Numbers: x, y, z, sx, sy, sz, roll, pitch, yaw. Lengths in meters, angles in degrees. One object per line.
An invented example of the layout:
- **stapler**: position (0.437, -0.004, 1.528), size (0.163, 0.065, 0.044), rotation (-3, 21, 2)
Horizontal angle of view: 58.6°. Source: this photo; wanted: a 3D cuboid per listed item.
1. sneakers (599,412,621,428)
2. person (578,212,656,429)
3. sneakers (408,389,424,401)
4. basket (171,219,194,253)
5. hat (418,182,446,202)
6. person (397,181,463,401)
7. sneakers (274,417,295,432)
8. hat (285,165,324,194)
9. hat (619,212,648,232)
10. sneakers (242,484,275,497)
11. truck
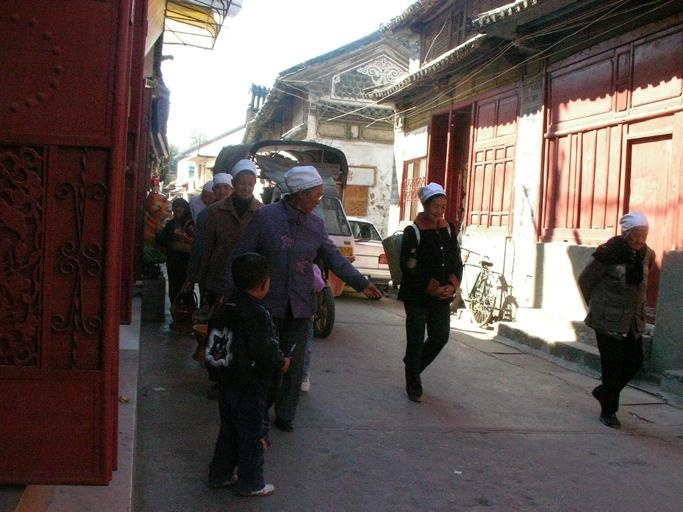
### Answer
- **sneakers**: position (2.623, 1.619, 5.974), size (0.088, 0.078, 0.199), rotation (0, -2, -14)
- **person**: position (2.670, 0.605, 6.037), size (0.683, 1.563, 0.417), rotation (5, 4, 14)
- **sneakers**: position (0.733, 1.418, 6.201), size (0.153, 0.107, 0.110), rotation (5, 4, 13)
- **basket**: position (-2.251, -0.278, 8.663), size (0.385, 0.514, 0.530), rotation (4, -14, -16)
- **hat**: position (0.910, -0.670, 6.197), size (0.200, 0.204, 0.247), rotation (-1, 22, 4)
- **person**: position (0.907, 0.370, 6.284), size (0.522, 2.207, 0.582), rotation (7, 5, 37)
- **sneakers**: position (-0.480, 1.414, 5.124), size (0.184, 0.124, 0.080), rotation (4, 5, -2)
- **hat**: position (-0.301, -0.630, 4.911), size (0.274, 0.146, 0.197), rotation (-16, 17, 6)
- **hat**: position (2.868, -0.346, 6.016), size (0.214, 0.146, 0.214), rotation (1, 5, 10)
- **sneakers**: position (-0.548, 1.532, 3.963), size (0.189, 0.076, 0.077), rotation (-4, 9, -18)
- **truck**: position (-1.001, -0.711, 15.046), size (2.298, 4.118, 7.391), rotation (-4, 3, -7)
